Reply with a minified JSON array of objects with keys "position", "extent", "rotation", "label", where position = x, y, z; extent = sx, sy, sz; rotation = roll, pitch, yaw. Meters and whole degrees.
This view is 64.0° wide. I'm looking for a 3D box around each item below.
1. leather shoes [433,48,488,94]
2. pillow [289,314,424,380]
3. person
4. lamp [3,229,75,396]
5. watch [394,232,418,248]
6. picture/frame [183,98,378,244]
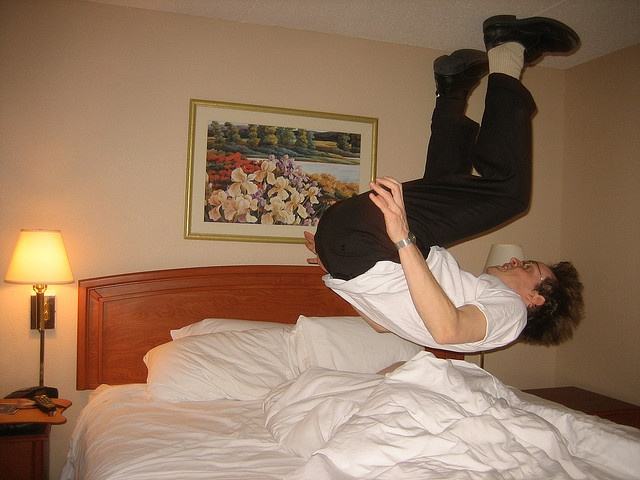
[{"position":[0.695,-0.833,2.564],"extent":[0.302,0.125,0.179],"rotation":[-14,41,-12],"label":"leather shoes"},{"position":[0.115,0.618,3.240],"extent":[0.888,0.487,0.251],"rotation":[-3,-35,23],"label":"pillow"},{"position":[0.578,-0.252,2.296],"extent":[1.279,1.564,0.711],"rotation":[0,4,-41],"label":"person"},{"position":[-1.691,0.421,3.083],"extent":[0.351,0.962,0.236],"rotation":[0,3,-29],"label":"lamp"},{"position":[0.327,0.004,1.899],"extent":[0.076,0.042,0.072],"rotation":[-31,17,22],"label":"watch"},{"position":[-0.325,-0.439,3.304],"extent":[1.139,0.715,0.040],"rotation":[2,-3,-16],"label":"picture/frame"}]
